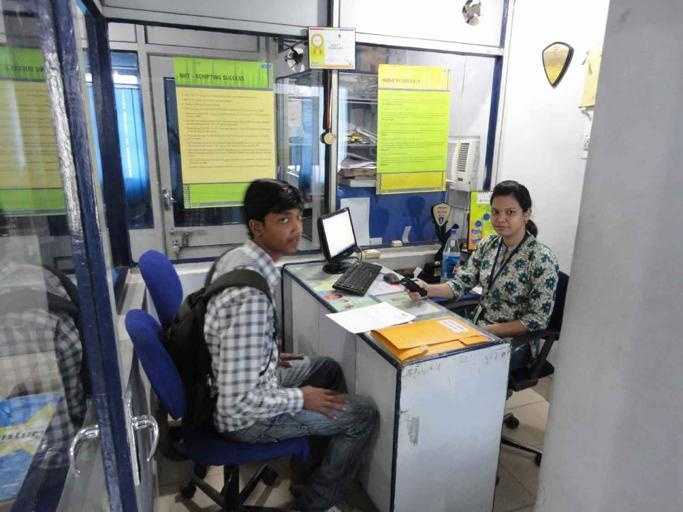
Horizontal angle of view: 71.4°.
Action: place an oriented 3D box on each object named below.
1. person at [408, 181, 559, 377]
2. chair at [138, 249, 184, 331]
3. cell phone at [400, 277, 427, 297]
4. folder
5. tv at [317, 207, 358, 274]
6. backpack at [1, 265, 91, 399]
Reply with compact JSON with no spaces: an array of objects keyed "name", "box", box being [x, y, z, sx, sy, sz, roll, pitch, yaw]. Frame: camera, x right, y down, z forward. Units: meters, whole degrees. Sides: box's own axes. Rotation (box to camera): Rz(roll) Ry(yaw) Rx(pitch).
[{"name":"person","box":[0.720,0.295,2.508,0.756,1.311,0.531,1,12,10]},{"name":"chair","box":[-0.823,0.160,2.135,0.212,0.323,0.202,-6,58,-11]},{"name":"cell phone","box":[0.355,0.167,2.344,0.113,0.034,0.066,38,17,-16]},{"name":"folder","box":[0.367,0.319,1.864,0.263,0.030,0.197,-8,17,-22]},{"name":"tv","box":[-0.032,-0.092,2.826,0.125,0.311,0.321,3,24,22]},{"name":"backpack","box":[-0.542,0.147,0.897,0.072,0.201,0.146,0,-2,42]}]
